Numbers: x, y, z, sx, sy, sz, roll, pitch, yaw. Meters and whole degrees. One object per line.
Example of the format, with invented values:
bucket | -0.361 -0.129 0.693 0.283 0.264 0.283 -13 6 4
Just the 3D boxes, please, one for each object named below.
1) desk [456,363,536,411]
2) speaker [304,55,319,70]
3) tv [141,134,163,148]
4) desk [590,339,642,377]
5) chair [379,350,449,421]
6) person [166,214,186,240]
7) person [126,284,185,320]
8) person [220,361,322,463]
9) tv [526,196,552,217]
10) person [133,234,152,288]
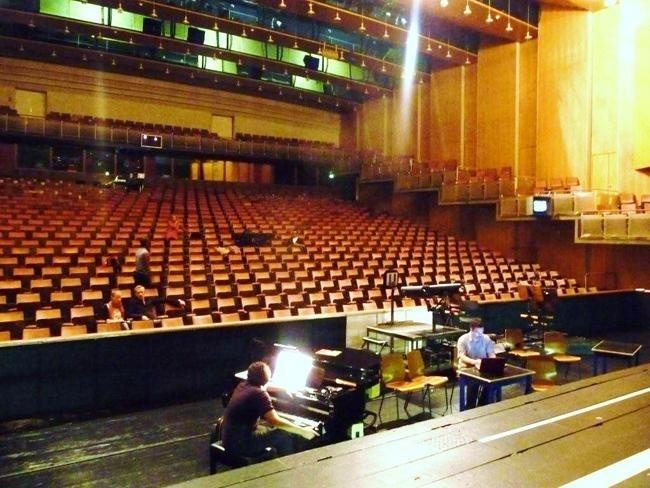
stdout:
desk | 2.048 1.696 6.453 0.796 0.754 0.609 -1 1 -30
speaker | -0.446 -6.151 18.140 0.589 0.556 0.152 -6 6 -38
tv | -5.344 -3.193 16.592 0.426 0.297 0.045 0 4 -28
desk | 4.076 1.626 7.528 0.535 0.534 0.538 1 2 43
chair | 1.151 1.762 6.993 1.082 0.766 0.868 -1 4 -7
person | -3.290 -0.358 11.923 0.461 0.436 0.950 1 28 -11
person | -2.568 0.864 8.117 0.442 0.533 0.787 2 4 30
person | -0.615 1.850 5.532 0.834 1.262 0.750 0 1 -22
tv | 4.888 -0.879 12.199 0.442 0.449 0.437 4 9 30
person | -2.997 0.323 8.883 0.256 0.821 0.466 -2 4 -20
